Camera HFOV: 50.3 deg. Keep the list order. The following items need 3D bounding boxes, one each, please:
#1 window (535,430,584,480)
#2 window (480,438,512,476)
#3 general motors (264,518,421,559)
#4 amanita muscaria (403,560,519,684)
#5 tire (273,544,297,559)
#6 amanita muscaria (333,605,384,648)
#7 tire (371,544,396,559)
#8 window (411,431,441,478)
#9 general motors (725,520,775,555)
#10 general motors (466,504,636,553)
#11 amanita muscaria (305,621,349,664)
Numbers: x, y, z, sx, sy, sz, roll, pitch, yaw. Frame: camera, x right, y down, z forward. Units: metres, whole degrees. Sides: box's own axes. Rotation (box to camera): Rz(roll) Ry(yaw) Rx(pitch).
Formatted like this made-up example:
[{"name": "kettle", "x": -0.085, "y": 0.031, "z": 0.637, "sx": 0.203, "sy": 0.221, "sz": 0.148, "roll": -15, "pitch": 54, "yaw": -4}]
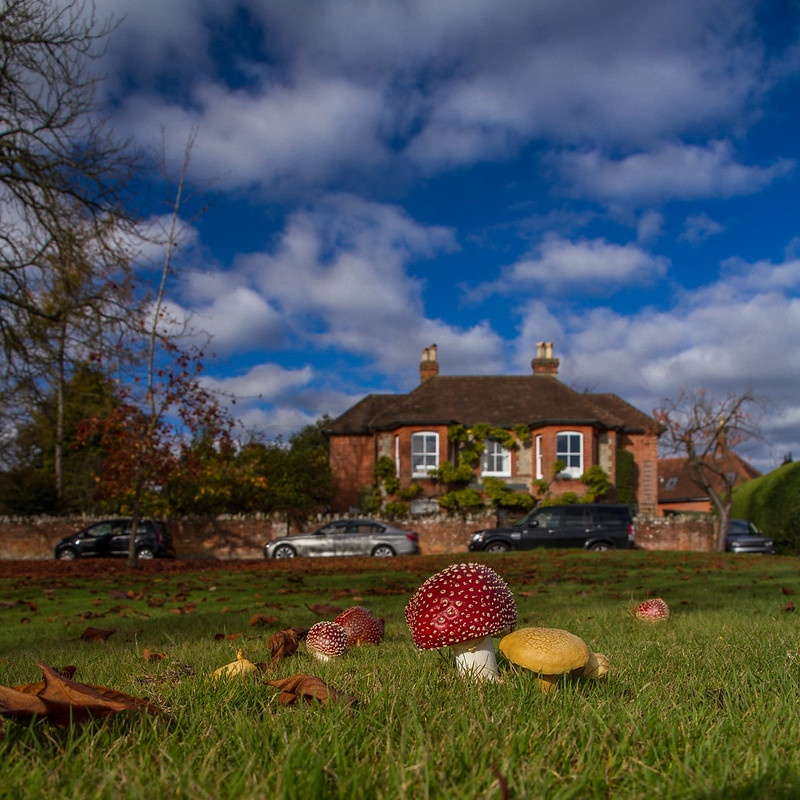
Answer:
[{"name": "window", "x": 5.818, "y": 2.042, "z": 30.835, "sx": 2.163, "sy": 1.929, "sz": 0.122, "roll": 0, "pitch": -10, "yaw": 1}, {"name": "window", "x": 3.503, "y": 2.161, "z": 31.359, "sx": 1.642, "sy": 1.810, "sz": 0.159, "roll": 2, "pitch": -8, "yaw": 6}, {"name": "general motors", "x": -1.449, "y": 3.426, "z": 20.545, "sx": 3.397, "sy": 0.819, "sz": 1.307, "roll": 2, "pitch": -10, "yaw": 4}, {"name": "amanita muscaria", "x": 0.286, "y": 1.064, "z": 4.053, "sx": 0.513, "sy": 0.532, "sz": 0.373, "roll": 0, "pitch": -7, "yaw": 1}, {"name": "tire", "x": -2.762, "y": 3.669, "z": 20.437, "sx": 0.351, "sy": 0.290, "sz": 0.104, "roll": -1, "pitch": -11, "yaw": -3}, {"name": "amanita muscaria", "x": -0.295, "y": 1.502, "z": 5.638, "sx": 0.261, "sy": 0.157, "sz": 0.305, "roll": 11, "pitch": -9, "yaw": -41}, {"name": "tire", "x": -0.356, "y": 3.523, "z": 19.853, "sx": 0.519, "sy": 0.243, "sz": 0.619, "roll": 2, "pitch": -6, "yaw": -15}, {"name": "window", "x": 0.891, "y": 1.975, "z": 30.778, "sx": 0.965, "sy": 1.626, "sz": 0.425, "roll": 1, "pitch": -7, "yaw": -2}, {"name": "general motors", "x": 8.840, "y": 3.528, "z": 21.716, "sx": 0.841, "sy": 0.615, "sz": 1.381, "roll": 0, "pitch": -11, "yaw": -1}, {"name": "general motors", "x": 3.816, "y": 3.079, "z": 20.848, "sx": 3.821, "sy": 1.153, "sz": 1.418, "roll": 0, "pitch": -4, "yaw": 1}, {"name": "amanita muscaria", "x": -0.417, "y": 1.400, "z": 4.884, "sx": 0.239, "sy": 0.159, "sz": 0.225, "roll": -6, "pitch": -10, "yaw": 24}]
